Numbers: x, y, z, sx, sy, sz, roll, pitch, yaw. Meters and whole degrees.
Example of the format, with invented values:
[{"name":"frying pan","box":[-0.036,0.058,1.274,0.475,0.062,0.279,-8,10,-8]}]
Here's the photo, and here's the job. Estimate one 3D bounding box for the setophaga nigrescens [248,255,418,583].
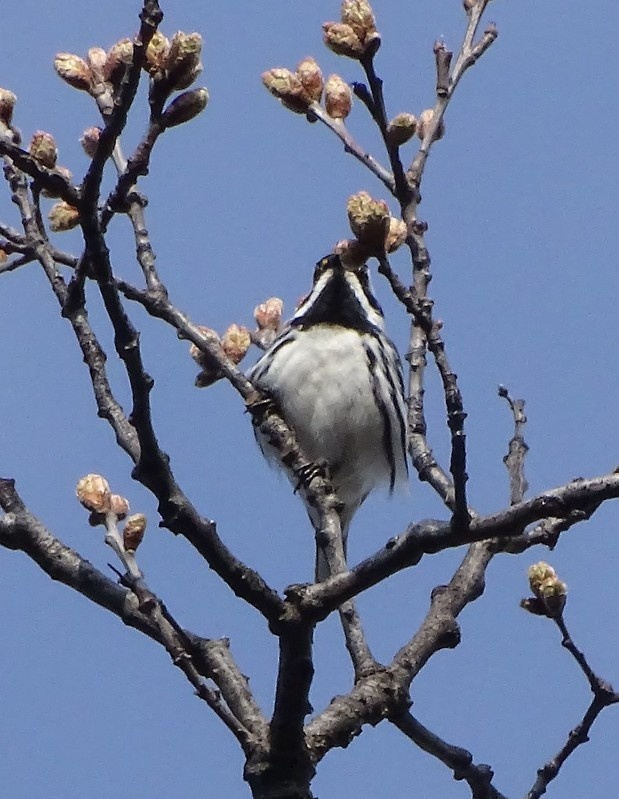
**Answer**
[{"name":"setophaga nigrescens","box":[0.074,0.176,7.091,0.466,0.488,1.287,0,-63,-17]}]
